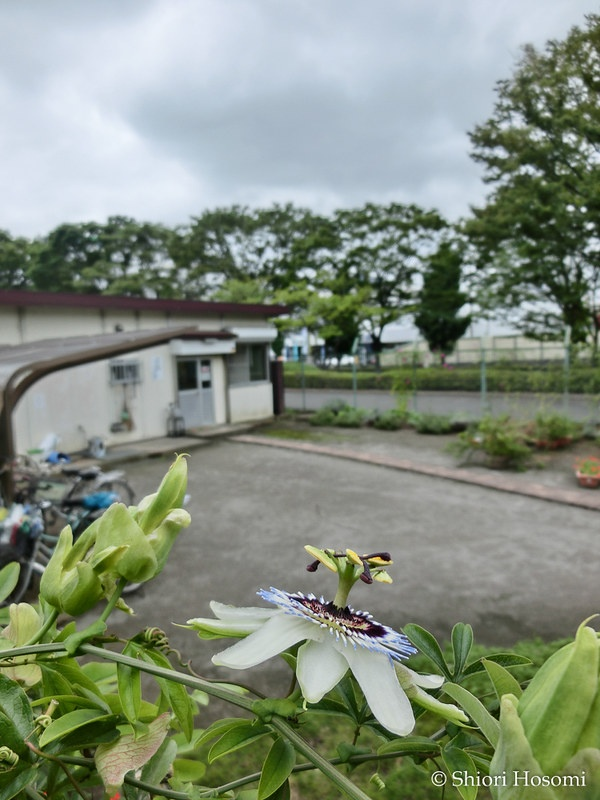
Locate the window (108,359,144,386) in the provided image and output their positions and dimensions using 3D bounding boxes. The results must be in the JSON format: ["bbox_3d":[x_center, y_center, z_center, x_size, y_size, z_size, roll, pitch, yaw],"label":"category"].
[{"bbox_3d":[-3.549,-0.551,11.987,0.161,0.539,0.748,0,4,34],"label":"window"}]

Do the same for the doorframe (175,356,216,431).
[{"bbox_3d":[-2.487,-0.168,13.728,0.233,1.866,1.711,-7,-8,33],"label":"doorframe"}]

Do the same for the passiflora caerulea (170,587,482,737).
[{"bbox_3d":[0.010,0.185,0.432,0.154,0.038,0.150,22,-2,-18],"label":"passiflora caerulea"}]
